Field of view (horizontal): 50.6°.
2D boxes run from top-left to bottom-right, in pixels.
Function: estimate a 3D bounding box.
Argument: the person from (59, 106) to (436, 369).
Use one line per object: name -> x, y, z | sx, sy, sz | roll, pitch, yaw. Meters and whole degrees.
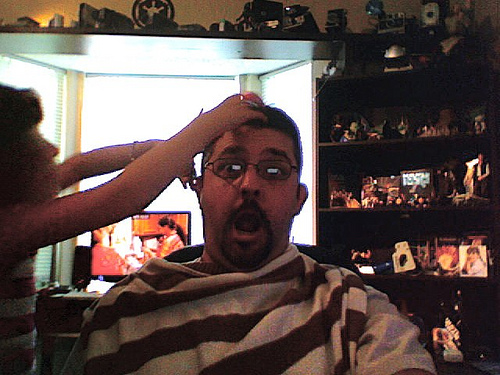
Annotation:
person -> -0.064, 0.232, 2.515 | 1.396, 1.063, 0.620 | 1, -31, 5
